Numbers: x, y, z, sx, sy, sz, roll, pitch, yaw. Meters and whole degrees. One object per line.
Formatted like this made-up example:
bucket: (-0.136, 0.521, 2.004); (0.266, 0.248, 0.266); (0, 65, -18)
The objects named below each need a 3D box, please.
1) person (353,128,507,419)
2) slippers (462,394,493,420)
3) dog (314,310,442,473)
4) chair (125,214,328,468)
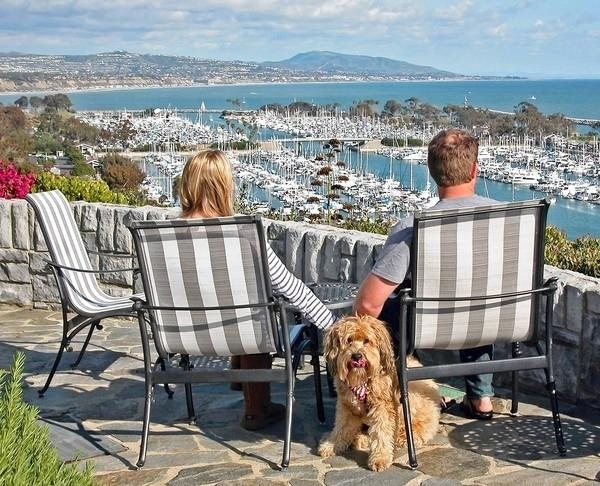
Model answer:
person: (0.780, 0.154, 3.281); (0.804, 1.600, 0.996); (11, 29, 31)
slippers: (0.935, 0.894, 3.192); (0.067, 0.068, 0.183); (-38, 46, 8)
dog: (0.387, 0.681, 2.953); (0.415, 0.657, 0.701); (0, 0, 38)
chair: (-0.380, 0.475, 3.010); (0.741, 1.081, 0.865); (-3, -5, 2)
